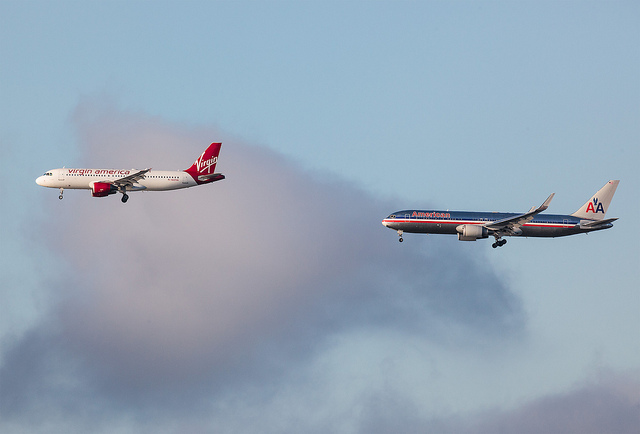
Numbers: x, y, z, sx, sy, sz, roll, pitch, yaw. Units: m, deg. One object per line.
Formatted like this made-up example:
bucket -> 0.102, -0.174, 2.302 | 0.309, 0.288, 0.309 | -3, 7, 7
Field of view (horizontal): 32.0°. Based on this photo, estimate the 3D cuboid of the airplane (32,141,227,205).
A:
airplane -> -24.303, -6.465, 147.469 | 21.317, 9.845, 2.590 | 6, -34, -2
